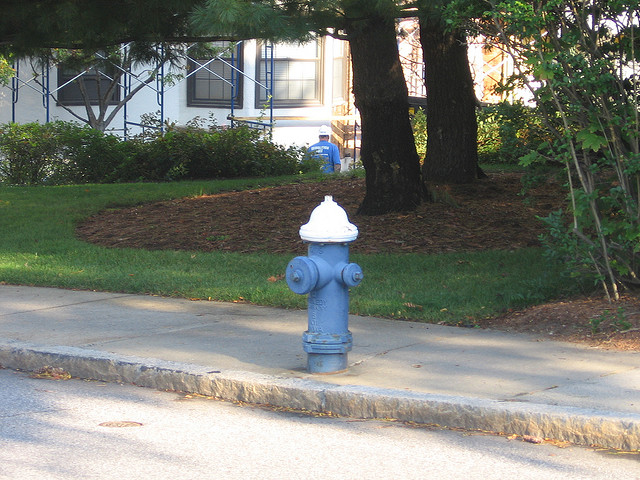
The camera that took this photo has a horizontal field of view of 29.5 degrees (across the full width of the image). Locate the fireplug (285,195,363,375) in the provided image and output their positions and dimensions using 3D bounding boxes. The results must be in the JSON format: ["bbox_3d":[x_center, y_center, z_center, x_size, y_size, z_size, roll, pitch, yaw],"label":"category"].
[{"bbox_3d":[0.048,0.422,11.095,0.670,1.615,0.324,-2,2,-6],"label":"fireplug"}]
